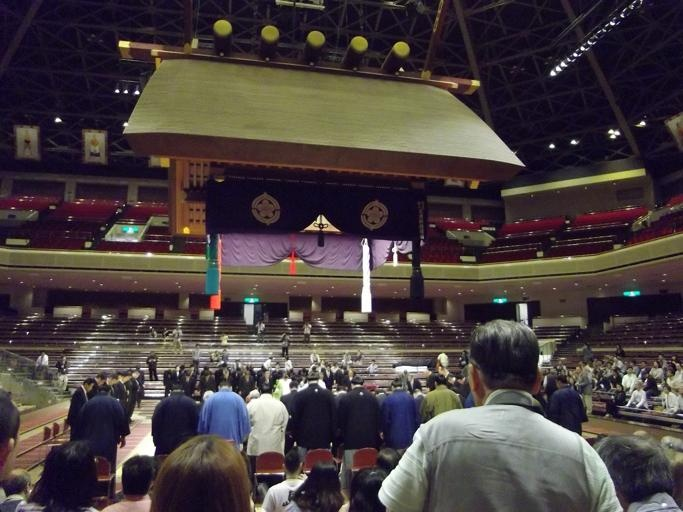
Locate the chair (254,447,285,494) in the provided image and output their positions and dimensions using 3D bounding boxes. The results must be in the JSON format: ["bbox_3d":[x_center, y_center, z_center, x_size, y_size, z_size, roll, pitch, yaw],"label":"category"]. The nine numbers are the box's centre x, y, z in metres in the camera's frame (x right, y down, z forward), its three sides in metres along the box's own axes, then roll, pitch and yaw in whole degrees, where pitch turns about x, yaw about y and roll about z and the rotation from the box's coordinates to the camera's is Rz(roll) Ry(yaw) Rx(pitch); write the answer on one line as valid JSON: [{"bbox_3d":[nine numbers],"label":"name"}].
[{"bbox_3d":[-0.843,2.544,6.153,0.356,0.686,0.419,1,-28,-3],"label":"chair"}]
